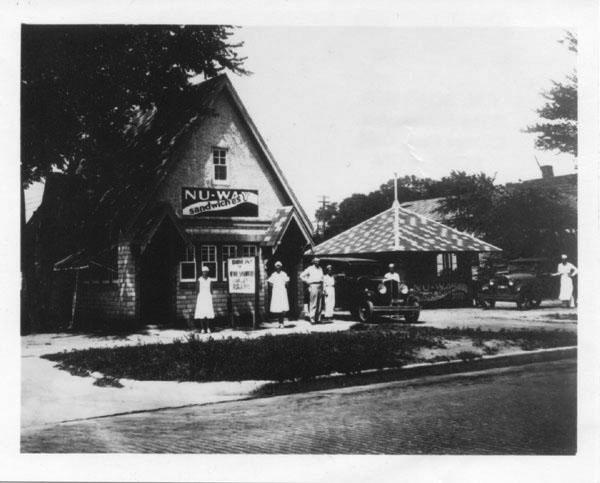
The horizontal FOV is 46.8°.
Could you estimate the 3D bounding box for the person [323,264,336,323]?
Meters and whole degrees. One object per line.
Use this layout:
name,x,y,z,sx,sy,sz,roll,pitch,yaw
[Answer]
person,0.858,1.461,20.083,0.322,1.665,1.016,0,-5,3

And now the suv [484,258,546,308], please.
suv,6.470,1.325,21.100,1.802,1.099,1.017,10,-14,-44

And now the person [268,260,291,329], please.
person,-0.469,1.460,19.250,0.566,1.827,0.736,-3,-6,39

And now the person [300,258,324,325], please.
person,0.376,1.370,19.794,0.618,1.848,0.661,0,-4,3

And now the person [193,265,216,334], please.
person,-2.497,1.543,18.317,0.525,1.742,0.635,1,-4,-11
